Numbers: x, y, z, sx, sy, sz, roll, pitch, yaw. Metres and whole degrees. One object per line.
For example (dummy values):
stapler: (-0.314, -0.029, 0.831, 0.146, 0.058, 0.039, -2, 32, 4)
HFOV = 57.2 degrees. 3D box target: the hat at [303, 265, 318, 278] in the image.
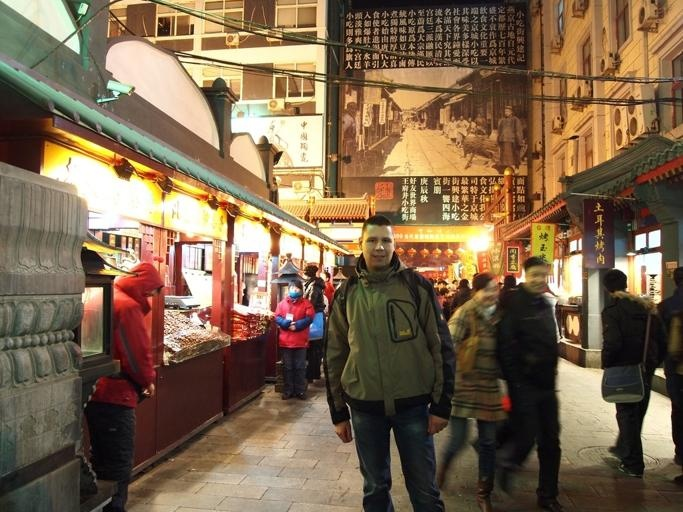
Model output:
hat: (-0.581, 0.286, 11.851, 0.181, 0.265, 0.247, 4, -12, 10)

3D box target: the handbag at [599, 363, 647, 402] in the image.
handbag: (3.019, 1.343, 6.679, 0.344, 0.373, 0.154, -4, -13, 17)

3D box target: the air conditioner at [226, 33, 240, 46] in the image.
air conditioner: (-4.788, -9.264, 27.281, 0.626, 0.719, 0.376, 2, 24, 7)

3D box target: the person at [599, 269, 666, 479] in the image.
person: (3.171, 1.259, 6.863, 0.586, 2.188, 0.684, 1, 3, 29)

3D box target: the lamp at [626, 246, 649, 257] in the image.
lamp: (5.814, -0.071, 12.254, 0.403, 0.226, 0.175, 0, -1, 44)

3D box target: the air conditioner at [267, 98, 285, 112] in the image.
air conditioner: (-2.722, -6.187, 26.196, 0.732, 0.601, 0.429, -1, -7, 5)

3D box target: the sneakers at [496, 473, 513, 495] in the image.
sneakers: (1.734, 2.347, 6.549, 0.152, 0.201, 0.208, 0, -8, -6)

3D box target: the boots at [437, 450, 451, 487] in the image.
boots: (1.035, 2.165, 6.380, 0.125, 0.440, 0.173, 4, -5, 4)
